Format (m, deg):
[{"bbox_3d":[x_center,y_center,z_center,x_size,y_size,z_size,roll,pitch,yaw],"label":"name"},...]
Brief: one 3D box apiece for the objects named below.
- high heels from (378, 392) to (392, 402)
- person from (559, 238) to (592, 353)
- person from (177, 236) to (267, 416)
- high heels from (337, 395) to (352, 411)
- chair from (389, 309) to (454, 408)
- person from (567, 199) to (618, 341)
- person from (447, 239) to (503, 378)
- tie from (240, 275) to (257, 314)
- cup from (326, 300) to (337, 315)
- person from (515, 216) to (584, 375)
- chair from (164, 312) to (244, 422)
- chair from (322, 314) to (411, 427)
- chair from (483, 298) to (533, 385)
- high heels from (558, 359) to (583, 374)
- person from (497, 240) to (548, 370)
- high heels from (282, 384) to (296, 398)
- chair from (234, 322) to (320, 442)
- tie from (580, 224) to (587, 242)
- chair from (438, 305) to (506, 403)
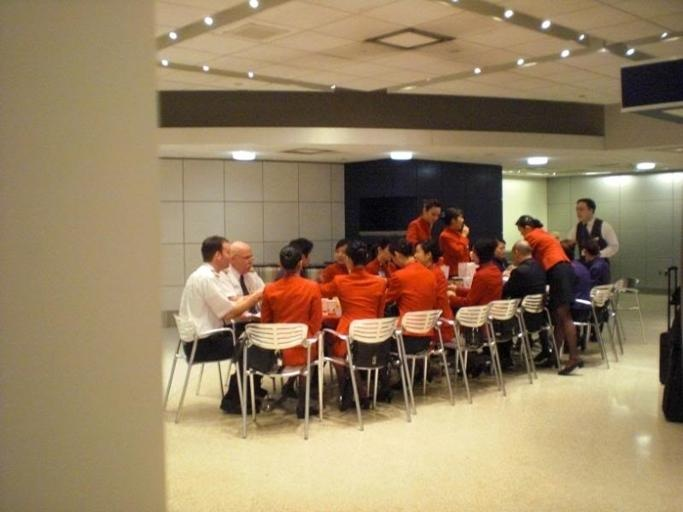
[{"bbox_3d":[0.454,1.460,5.988,0.103,0.128,0.130,0,3,-23],"label":"high heels"},{"bbox_3d":[3.200,0.455,7.974,0.432,1.425,0.433,4,31,29],"label":"person"},{"bbox_3d":[-1.152,0.687,5.787,0.869,1.688,0.687,-1,6,-10],"label":"person"},{"bbox_3d":[0.035,1.439,5.645,0.118,0.150,0.153,1,-5,-7],"label":"high heels"},{"bbox_3d":[0.779,0.932,5.404,0.456,0.830,0.443,-8,-5,19],"label":"chair"},{"bbox_3d":[4.186,0.031,9.817,0.812,1.971,0.627,5,-7,5],"label":"person"},{"bbox_3d":[1.519,0.517,6.744,0.547,1.509,0.598,20,34,40],"label":"person"},{"bbox_3d":[-1.049,0.430,6.432,0.251,0.365,0.121,-9,3,-27],"label":"tie"},{"bbox_3d":[-0.089,0.523,5.703,0.121,0.139,0.120,0,-3,0],"label":"cup"},{"bbox_3d":[2.649,0.398,7.376,0.499,1.922,0.650,4,-13,-35],"label":"person"},{"bbox_3d":[-1.366,1.027,5.674,0.722,1.058,0.734,-2,5,-16],"label":"chair"},{"bbox_3d":[0.231,1.042,5.402,0.731,0.967,0.646,0,-1,-44],"label":"chair"},{"bbox_3d":[1.871,0.925,6.411,0.457,0.842,0.495,-15,-9,32],"label":"chair"},{"bbox_3d":[2.784,1.351,6.999,0.209,0.089,0.078,-32,7,7],"label":"high heels"},{"bbox_3d":[2.256,0.526,7.290,0.686,1.446,0.600,14,27,35],"label":"person"},{"bbox_3d":[-0.525,1.387,5.887,0.123,0.175,0.170,0,-6,-6],"label":"high heels"},{"bbox_3d":[-0.573,1.045,5.155,0.811,0.990,0.687,-1,3,2],"label":"chair"},{"bbox_3d":[4.232,-0.391,10.055,0.052,0.227,0.207,3,-1,-22],"label":"tie"},{"bbox_3d":[1.361,0.975,6.092,0.613,0.913,0.618,3,-12,-20],"label":"chair"}]
